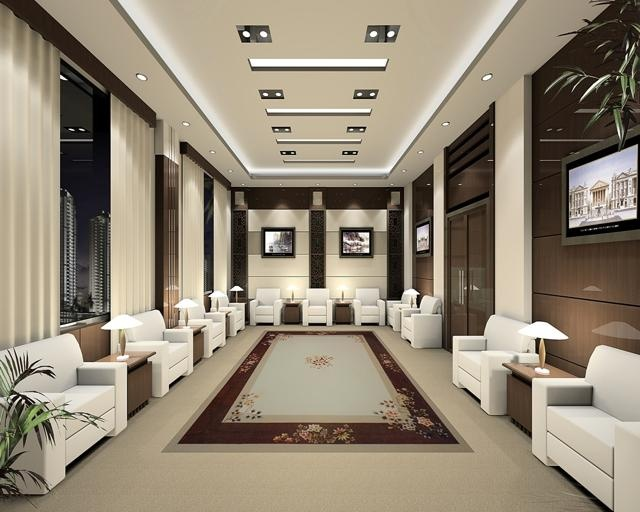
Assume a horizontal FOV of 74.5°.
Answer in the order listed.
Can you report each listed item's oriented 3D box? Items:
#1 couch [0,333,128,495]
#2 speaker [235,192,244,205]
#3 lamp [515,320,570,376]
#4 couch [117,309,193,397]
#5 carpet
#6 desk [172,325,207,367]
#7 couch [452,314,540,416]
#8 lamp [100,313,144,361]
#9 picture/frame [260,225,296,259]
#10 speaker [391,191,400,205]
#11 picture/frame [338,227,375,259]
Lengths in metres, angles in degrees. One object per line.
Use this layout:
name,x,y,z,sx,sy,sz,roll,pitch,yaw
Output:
couch,-2.512,1.406,4.091,0.696,1.149,1.234,1,9,6
speaker,-2.023,-1.454,10.566,0.236,0.355,0.121,-2,9,-9
lamp,2.333,0.926,4.559,0.496,0.551,0.547,0,2,3
couch,-2.165,1.299,5.938,0.776,1.259,1.426,0,-1,2
carpet,0.030,1.800,5.883,2.967,0.261,3.371,0,9,0
desk,-1.993,1.349,6.719,0.520,0.681,0.705,-1,-1,1
couch,2.248,1.286,5.546,0.816,1.509,1.616,1,-2,2
lamp,-2.301,0.940,5.044,0.533,0.593,0.485,1,3,4
picture/frame,-1.118,-0.368,10.629,0.833,0.723,0.089,0,-2,-2
speaker,1.908,-1.466,10.659,0.238,0.358,0.098,1,9,6
picture/frame,0.868,-0.332,10.656,0.789,0.690,0.064,0,-2,-4
